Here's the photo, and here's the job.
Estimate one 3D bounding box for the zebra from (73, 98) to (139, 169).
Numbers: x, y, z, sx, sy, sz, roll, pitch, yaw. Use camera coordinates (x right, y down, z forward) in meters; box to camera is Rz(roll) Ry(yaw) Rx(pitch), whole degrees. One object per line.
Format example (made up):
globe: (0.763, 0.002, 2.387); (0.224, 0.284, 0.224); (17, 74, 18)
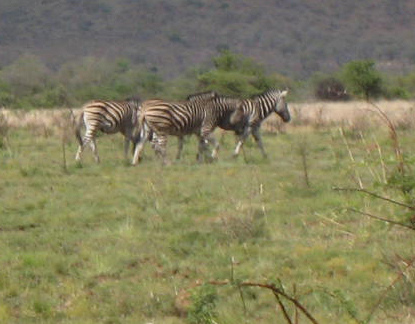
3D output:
zebra: (-4.166, -1.526, 35.071); (4.556, 3.489, 1.267); (0, -3, -38)

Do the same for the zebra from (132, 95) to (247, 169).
zebra: (-0.743, -1.470, 34.512); (5.065, 3.608, 1.598); (-2, 13, -11)
